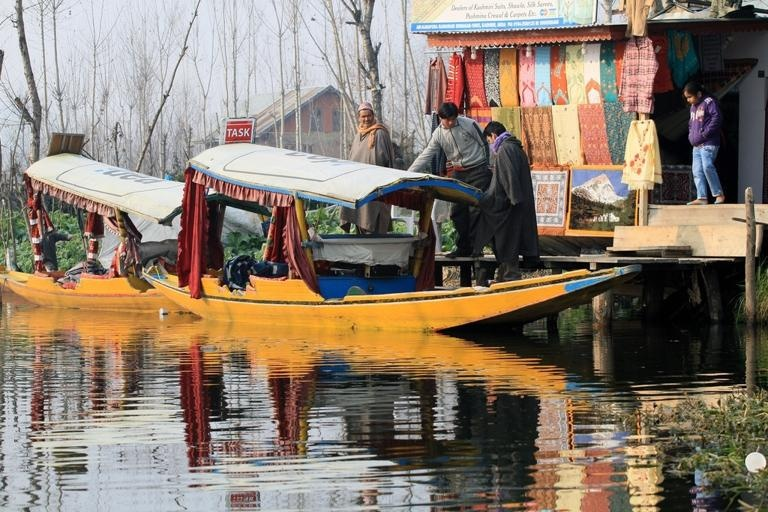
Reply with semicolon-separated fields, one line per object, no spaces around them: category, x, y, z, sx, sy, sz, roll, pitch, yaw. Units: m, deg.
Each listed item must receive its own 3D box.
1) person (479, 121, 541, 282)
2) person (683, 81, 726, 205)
person;2.120;-0.923;27.634;0.917;2.690;0.636;-2;-2;4
person;5.556;-1.950;28.369;0.680;2.166;0.586;-2;-2;23
